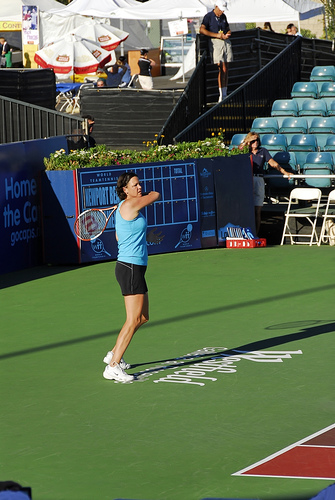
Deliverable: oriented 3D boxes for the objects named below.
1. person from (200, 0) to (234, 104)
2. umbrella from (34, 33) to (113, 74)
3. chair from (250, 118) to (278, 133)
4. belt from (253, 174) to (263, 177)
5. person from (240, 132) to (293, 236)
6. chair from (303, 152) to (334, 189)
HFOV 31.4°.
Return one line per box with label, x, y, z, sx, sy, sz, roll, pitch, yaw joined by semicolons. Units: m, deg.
person;1.385;-5.397;16.235;0.680;2.625;1.030;1;5;32
umbrella;-3.847;-7.939;24.078;3.054;1.801;1.374;-4;5;-27
chair;2.582;-3.305;15.801;1.008;0.440;0.988;1;8;5
belt;1.859;-1.531;12.229;0.197;0.053;0.047;-3;5;-19
person;1.918;-1.425;12.295;0.832;2.003;0.520;-1;5;10
chair;3.303;-1.743;13.066;0.599;0.708;0.812;4;29;8
